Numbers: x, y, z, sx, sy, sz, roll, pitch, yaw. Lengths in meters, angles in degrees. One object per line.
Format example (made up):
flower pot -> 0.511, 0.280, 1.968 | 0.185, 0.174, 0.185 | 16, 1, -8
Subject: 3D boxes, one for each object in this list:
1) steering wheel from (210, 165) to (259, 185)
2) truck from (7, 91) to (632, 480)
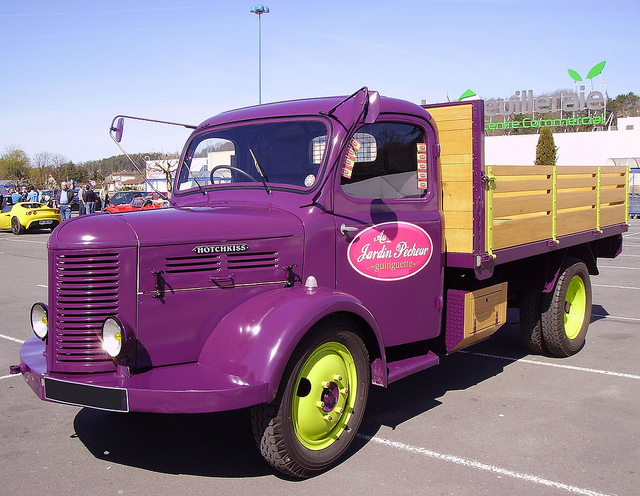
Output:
steering wheel -> -0.782, -0.659, 4.759 | 0.140, 0.170, 0.560 | -7, 10, -43
truck -> 0.378, 0.100, 5.014 | 5.616, 2.978, 1.541 | -5, 8, -35
